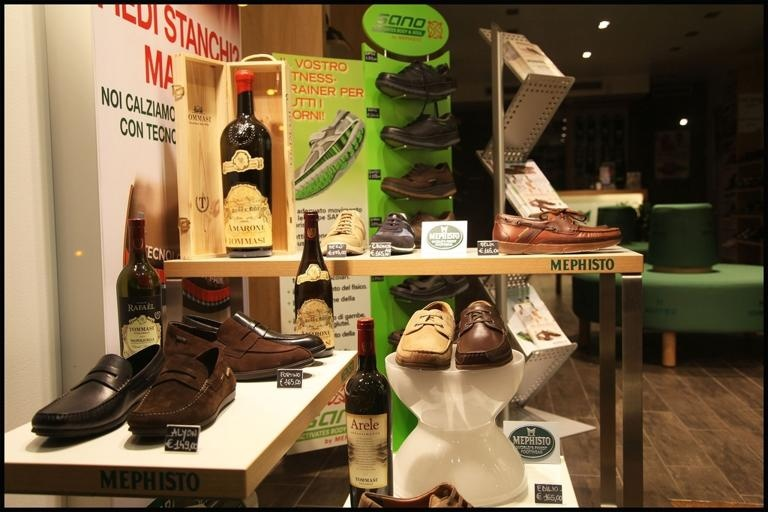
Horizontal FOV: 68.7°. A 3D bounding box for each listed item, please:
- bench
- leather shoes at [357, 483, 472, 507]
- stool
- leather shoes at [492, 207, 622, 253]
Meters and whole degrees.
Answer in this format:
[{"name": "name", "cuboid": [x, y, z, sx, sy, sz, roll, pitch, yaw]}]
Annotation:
[{"name": "bench", "cuboid": [2.420, 0.377, 4.369, 1.097, 0.501, 1.083, 0, 0, -39]}, {"name": "leather shoes", "cuboid": [0.079, 0.742, 1.688, 0.301, 0.061, 0.062, -3, 10, -6]}, {"name": "stool", "cuboid": [0.239, 0.589, 2.134, 0.514, 0.496, 0.508, -1, -2, -5]}, {"name": "leather shoes", "cuboid": [0.643, -0.090, 2.248, 0.548, 0.205, 0.187, -1, -2, 1]}]
